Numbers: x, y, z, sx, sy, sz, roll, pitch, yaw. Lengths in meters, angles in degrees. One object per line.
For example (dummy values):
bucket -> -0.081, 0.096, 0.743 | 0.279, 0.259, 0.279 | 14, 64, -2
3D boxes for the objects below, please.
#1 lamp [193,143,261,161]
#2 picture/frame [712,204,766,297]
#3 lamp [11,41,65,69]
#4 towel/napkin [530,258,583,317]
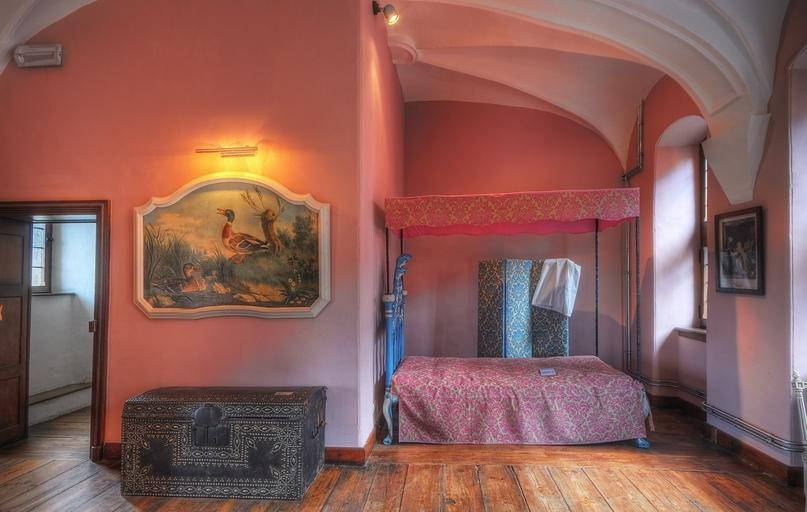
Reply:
lamp -> -1.964, -1.173, 6.744 | 0.762, 0.229, 0.141 | -2, -10, 3
picture/frame -> 3.767, -0.036, 6.719 | 0.072, 0.968, 0.593 | 1, -3, -20
lamp -> -4.146, -2.277, 6.778 | 0.419, 0.303, 0.121 | -1, 5, -9
towel/napkin -> 2.147, 0.341, 8.587 | 0.566, 0.691, 0.587 | 12, 17, -39
